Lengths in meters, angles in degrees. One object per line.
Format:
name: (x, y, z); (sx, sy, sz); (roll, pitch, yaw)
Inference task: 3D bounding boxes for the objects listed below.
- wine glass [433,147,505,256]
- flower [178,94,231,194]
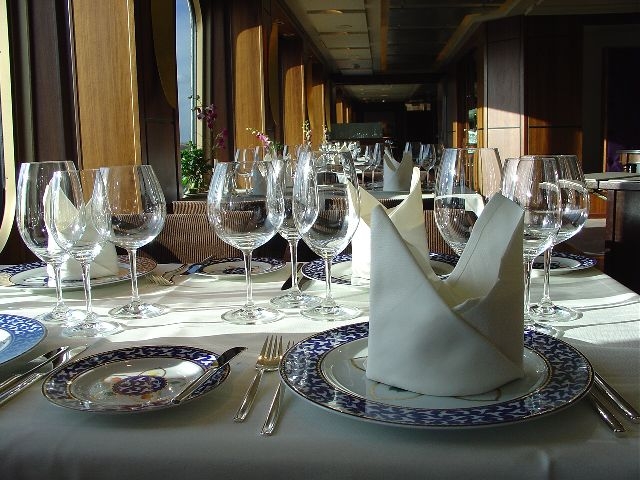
wine glass: (0.290, -0.060, 1.022); (0.121, 0.261, 0.118); (12, -13, -29)
flower: (-1.048, -0.797, 4.331); (0.339, 0.821, 0.284); (11, 5, -14)
